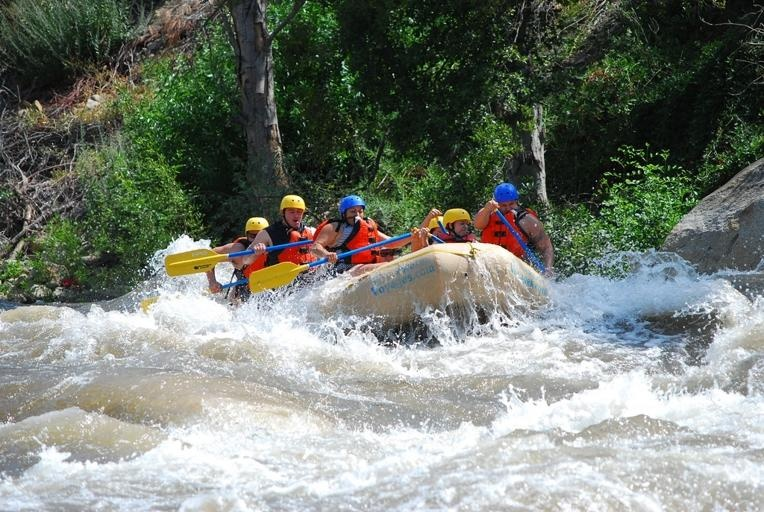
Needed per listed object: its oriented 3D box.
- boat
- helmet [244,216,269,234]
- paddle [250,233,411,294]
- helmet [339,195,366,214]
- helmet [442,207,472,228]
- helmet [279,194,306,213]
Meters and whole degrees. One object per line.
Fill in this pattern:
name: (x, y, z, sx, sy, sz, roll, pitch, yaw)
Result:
boat: (0.434, 0.557, 14.685, 2.646, 0.591, 1.514, -18, -19, 36)
helmet: (-1.978, -0.482, 16.351, 0.232, 0.300, 0.320, 0, -19, -12)
paddle: (-0.802, 0.125, 15.393, 2.301, 0.329, 0.172, -19, 6, -10)
helmet: (-0.451, -0.802, 15.807, 0.241, 0.364, 0.262, 1, -2, 1)
helmet: (1.126, -0.578, 15.686, 0.337, 0.184, 0.251, -9, -7, 27)
helmet: (-1.391, -0.834, 16.128, 0.247, 0.212, 0.340, 1, -17, -6)
